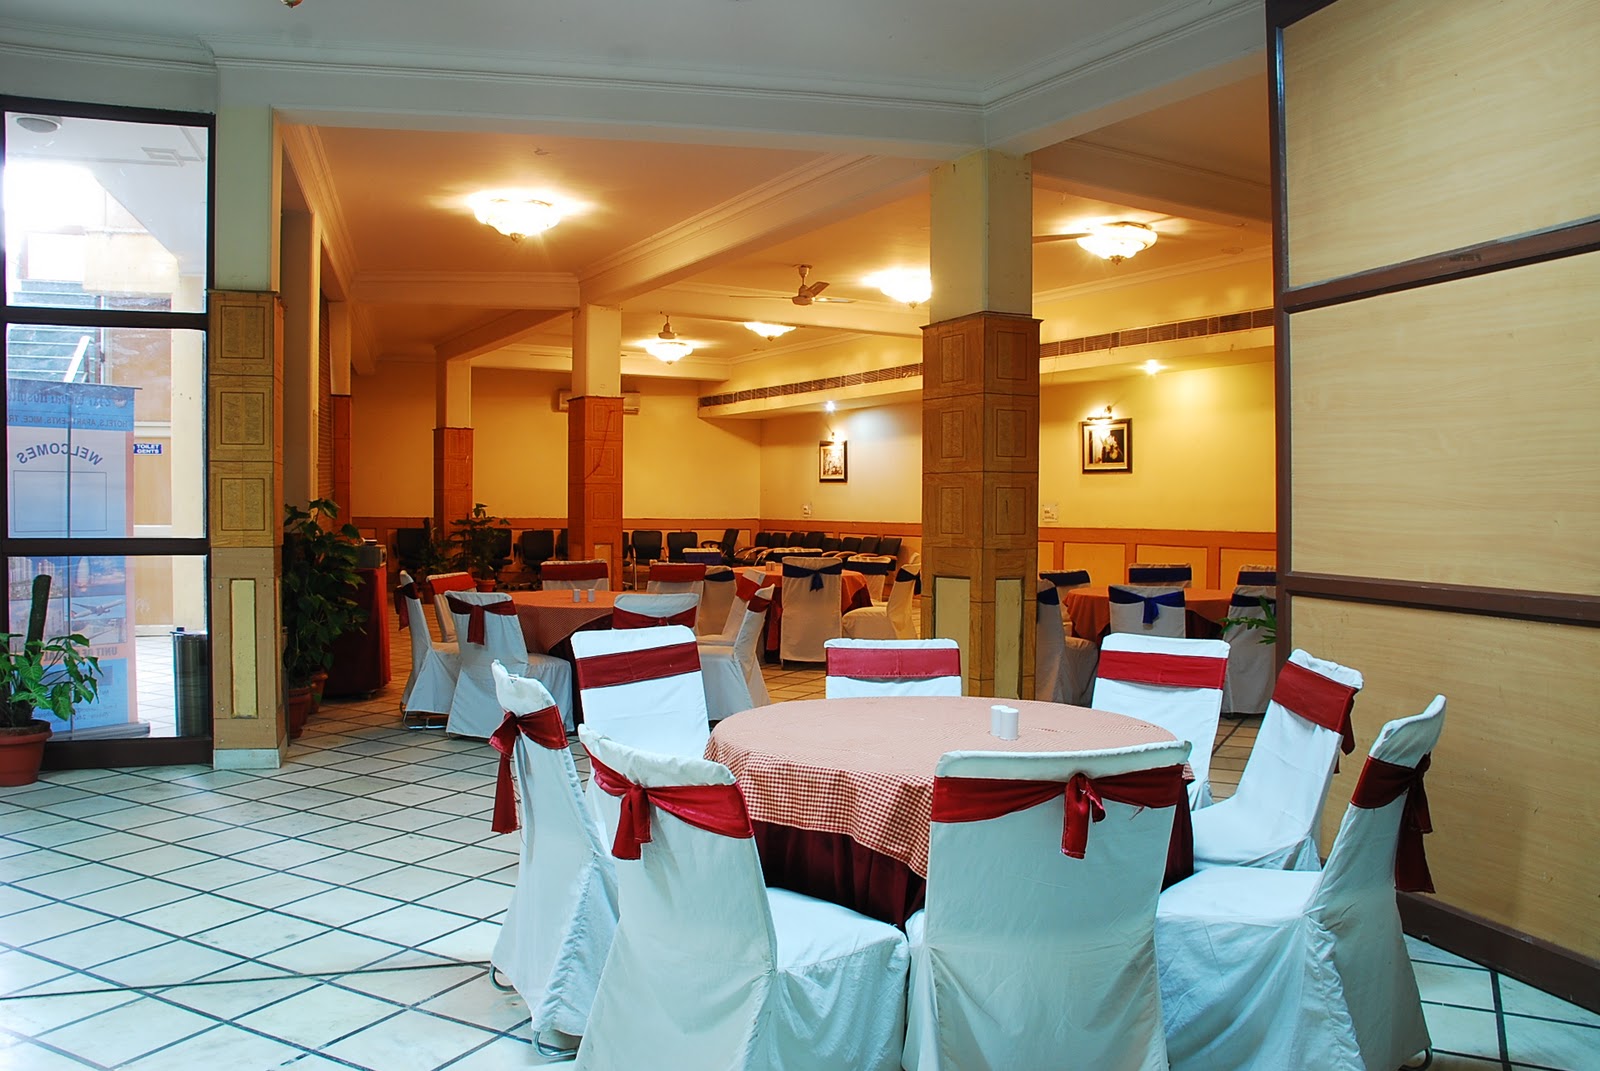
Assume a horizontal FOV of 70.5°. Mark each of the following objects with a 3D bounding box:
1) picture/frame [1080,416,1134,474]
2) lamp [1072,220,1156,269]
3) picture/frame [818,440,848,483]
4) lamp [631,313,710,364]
[{"bbox_3d":[3.687,-1.091,13.537,0.056,0.753,0.736,2,-2,-38],"label":"picture/frame"},{"bbox_3d":[2.589,-2.467,9.484,0.518,0.221,0.512,4,-7,-32],"label":"lamp"},{"bbox_3d":[0.511,-1.165,17.580,0.050,0.648,0.632,-2,5,-32],"label":"picture/frame"},{"bbox_3d":[-1.588,-2.508,14.542,0.676,0.614,0.670,-5,9,-26],"label":"lamp"}]
